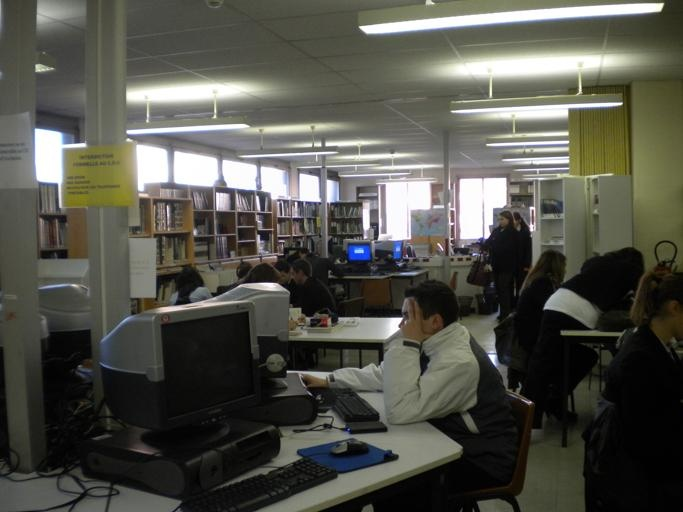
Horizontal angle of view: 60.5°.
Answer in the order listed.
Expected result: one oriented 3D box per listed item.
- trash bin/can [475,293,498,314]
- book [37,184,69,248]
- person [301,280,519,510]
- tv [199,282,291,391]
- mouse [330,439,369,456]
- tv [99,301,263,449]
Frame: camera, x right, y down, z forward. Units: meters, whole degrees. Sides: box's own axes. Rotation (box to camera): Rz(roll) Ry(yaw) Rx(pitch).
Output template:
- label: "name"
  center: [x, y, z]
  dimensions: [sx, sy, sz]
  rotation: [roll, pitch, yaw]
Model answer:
- label: "trash bin/can"
  center: [2.466, 0.806, 9.887]
  dimensions: [0.344, 0.301, 0.346]
  rotation: [-2, -1, 38]
- label: "book"
  center: [-3.672, -0.481, 7.455]
  dimensions: [0.410, 0.853, 0.409]
  rotation: [0, 9, -43]
- label: "person"
  center: [0.362, 0.848, 3.440]
  dimensions: [1.082, 1.566, 0.654]
  rotation: [5, -20, -1]
- label: "tv"
  center: [-0.494, 0.376, 2.952]
  dimensions: [0.415, 0.470, 0.444]
  rotation: [-1, 3, -15]
- label: "mouse"
  center: [0.031, 0.825, 2.513]
  dimensions: [0.107, 0.035, 0.068]
  rotation: [2, -2, -5]
- label: "tv"
  center: [-0.687, 0.435, 2.599]
  dimensions: [0.484, 0.593, 0.697]
  rotation: [-1, -1, 31]
